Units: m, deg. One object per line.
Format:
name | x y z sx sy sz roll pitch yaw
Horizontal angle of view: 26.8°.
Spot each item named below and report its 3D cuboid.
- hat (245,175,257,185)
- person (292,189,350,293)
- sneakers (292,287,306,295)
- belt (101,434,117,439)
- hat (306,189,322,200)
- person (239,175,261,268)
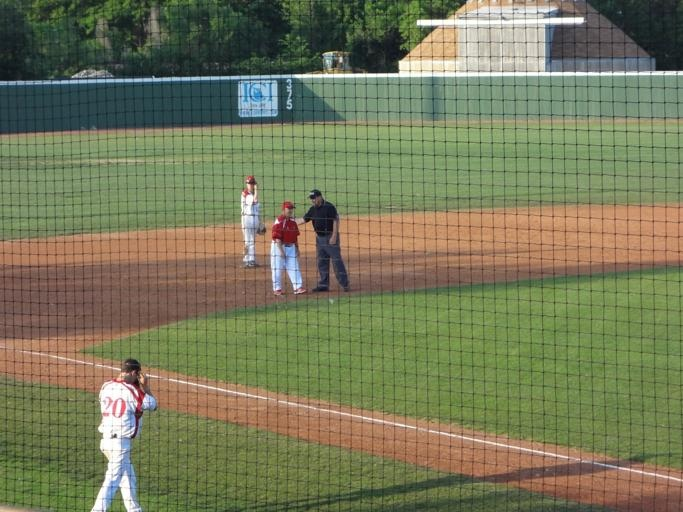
hat | -2.344 -1.979 36.833 0.307 0.289 0.342 -2 4 -2
person | -0.396 -0.420 35.280 0.989 2.590 1.015 -5 10 -2
sneakers | -1.037 0.843 35.357 0.319 0.131 0.129 -5 3 12
belt | -4.625 3.548 28.395 0.312 0.073 0.276 2 3 13
hat | -0.592 -1.529 34.781 0.373 0.192 0.263 0 3 -39
person | -2.399 -0.953 37.332 0.539 2.375 1.047 -6 10 -4
